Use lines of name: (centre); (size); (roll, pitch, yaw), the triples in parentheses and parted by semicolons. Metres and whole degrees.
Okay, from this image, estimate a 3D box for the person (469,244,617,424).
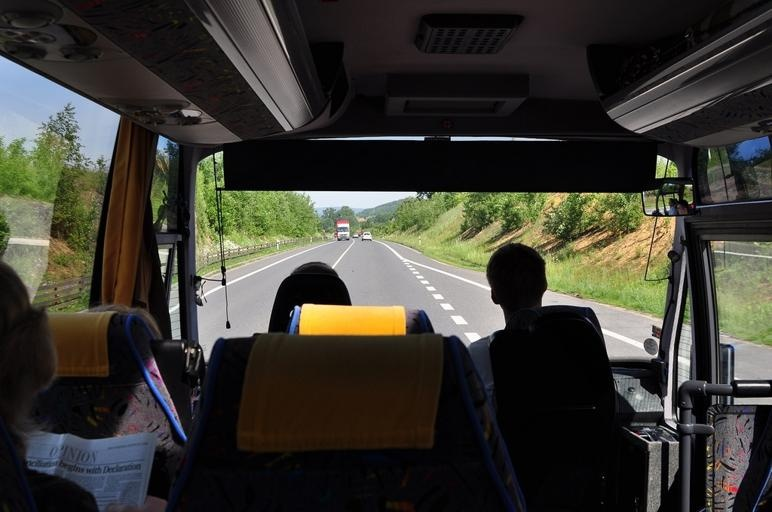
person: (1.013, 0.422, 3.710); (1.139, 0.986, 0.559); (-13, 14, 6)
